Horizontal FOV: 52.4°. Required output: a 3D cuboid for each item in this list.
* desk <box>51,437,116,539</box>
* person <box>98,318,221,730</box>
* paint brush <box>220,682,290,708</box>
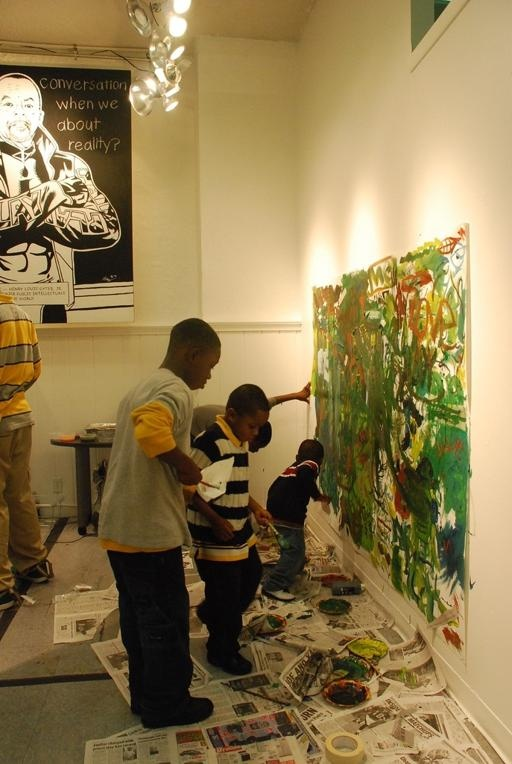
[{"bbox_3d":[-1.429,0.724,3.891,0.539,0.709,0.551,-4,2,-8],"label":"desk"},{"bbox_3d":[-0.279,0.425,1.503,0.354,1.239,0.569,-1,-3,-2],"label":"person"},{"bbox_3d":[0.021,1.041,1.770,0.263,0.008,0.115,-4,-4,29],"label":"paint brush"}]
